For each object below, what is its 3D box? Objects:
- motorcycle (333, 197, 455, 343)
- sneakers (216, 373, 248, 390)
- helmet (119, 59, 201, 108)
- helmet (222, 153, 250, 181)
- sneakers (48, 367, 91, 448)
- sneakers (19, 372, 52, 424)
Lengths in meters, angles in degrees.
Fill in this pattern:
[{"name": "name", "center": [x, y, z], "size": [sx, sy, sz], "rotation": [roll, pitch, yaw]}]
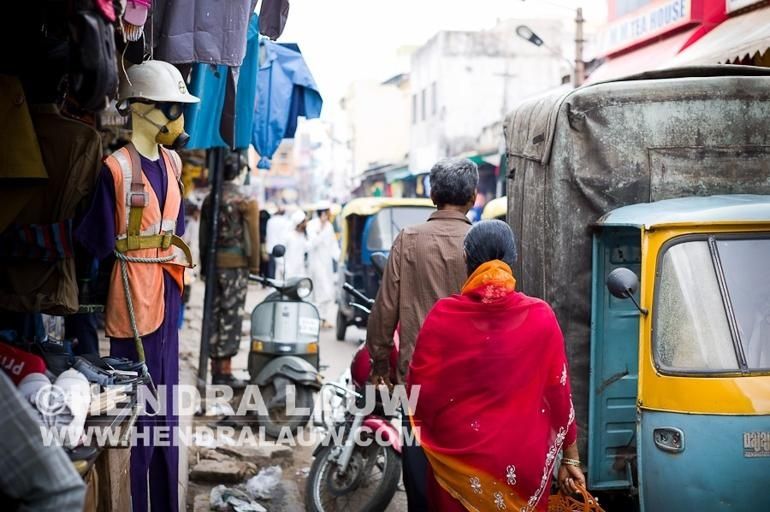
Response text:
[{"name": "motorcycle", "center": [0.037, 0.061, 14.589], "size": [1.169, 2.076, 2.043], "rotation": [1, -4, -9]}, {"name": "sneakers", "center": [-1.583, 1.288, 10.315], "size": [0.364, 0.197, 0.150], "rotation": [-1, 5, -11]}, {"name": "helmet", "center": [-1.688, -1.238, 7.197], "size": [0.377, 0.255, 0.333], "rotation": [0, 4, 5]}, {"name": "helmet", "center": [-1.592, -0.955, 10.534], "size": [0.174, 0.276, 0.262], "rotation": [2, 12, -2]}, {"name": "sneakers", "center": [-1.888, 0.904, 5.987], "size": [0.145, 0.519, 0.172], "rotation": [1, -17, -6]}, {"name": "sneakers", "center": [-2.110, 0.851, 5.975], "size": [0.190, 0.295, 0.296], "rotation": [1, -7, -21]}]
